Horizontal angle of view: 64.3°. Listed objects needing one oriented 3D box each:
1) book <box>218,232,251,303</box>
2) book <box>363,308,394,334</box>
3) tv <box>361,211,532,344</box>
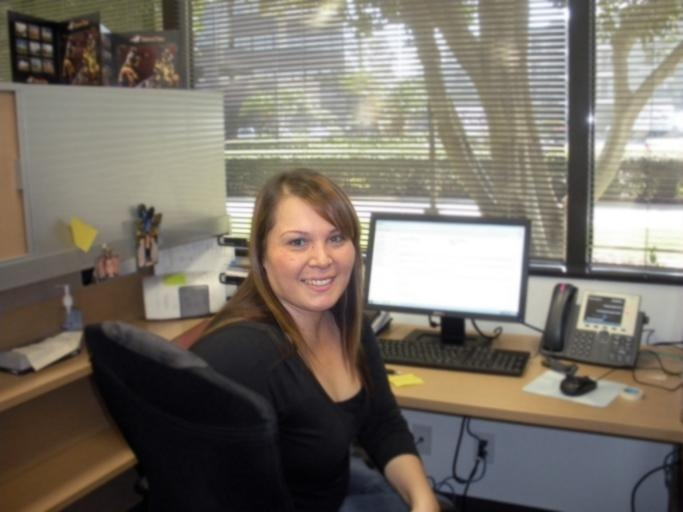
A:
[{"bbox_3d":[-0.534,0.044,2.689,0.106,0.329,0.321,5,31,-17],"label":"book"},{"bbox_3d":[0.171,0.277,2.280,0.126,0.051,0.097,-30,13,-28],"label":"book"},{"bbox_3d":[0.411,0.084,2.130,0.628,0.477,0.184,4,13,28],"label":"tv"}]
